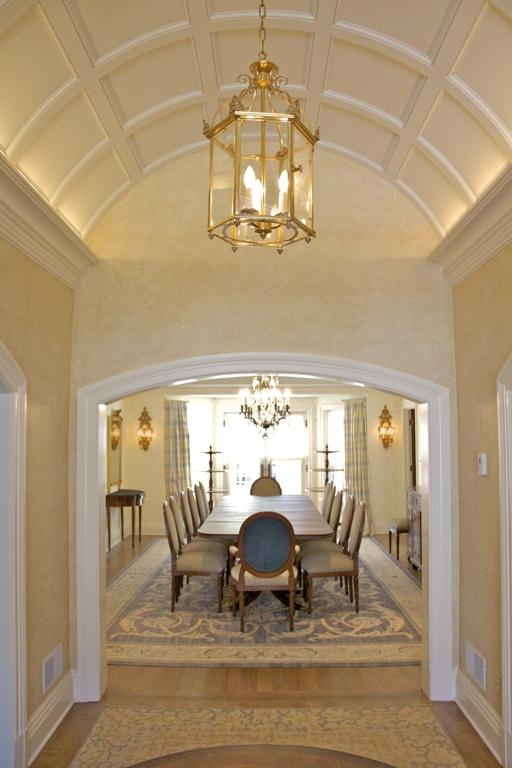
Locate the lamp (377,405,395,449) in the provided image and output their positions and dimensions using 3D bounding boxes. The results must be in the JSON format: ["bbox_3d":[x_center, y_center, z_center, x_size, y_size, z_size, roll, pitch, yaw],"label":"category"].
[{"bbox_3d":[2.226,0.736,8.458,0.269,0.736,0.099,-1,-6,5],"label":"lamp"}]

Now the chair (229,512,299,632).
[{"bbox_3d":[0.063,1.576,4.167,0.533,0.981,0.273,0,-6,-3],"label":"chair"}]

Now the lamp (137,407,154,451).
[{"bbox_3d":[-1.911,0.782,8.517,0.270,0.738,0.103,1,-6,-11],"label":"lamp"}]
